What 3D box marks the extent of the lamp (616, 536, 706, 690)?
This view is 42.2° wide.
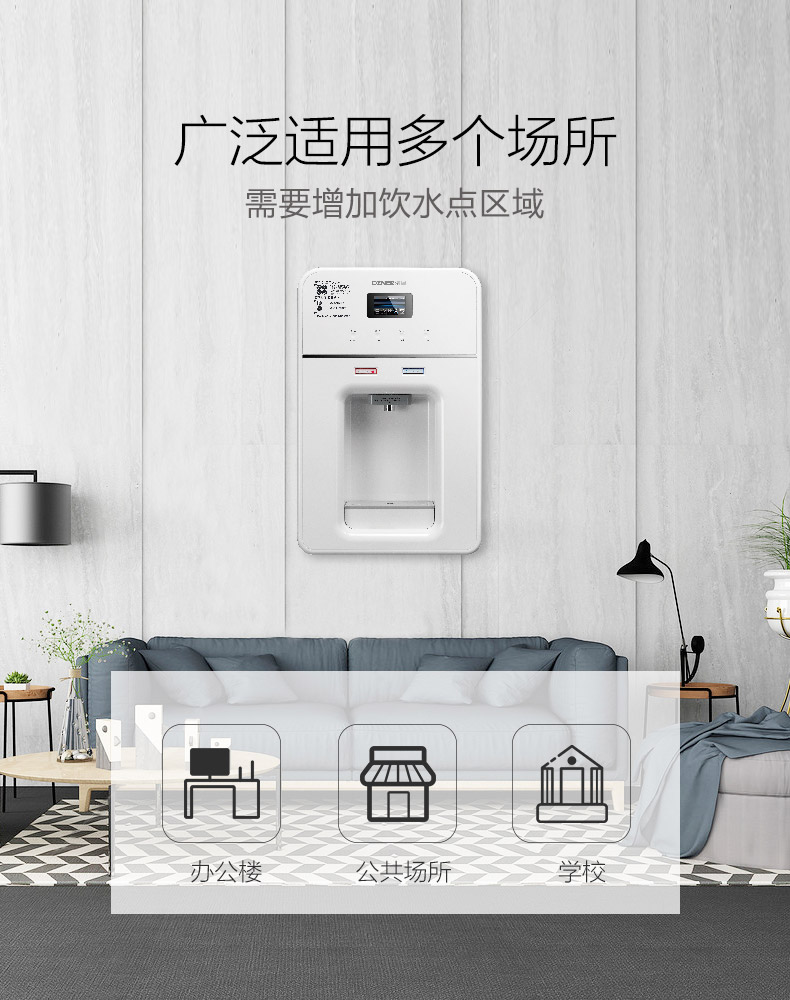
[{"bbox_3d":[1.314,0.560,5.063,0.352,0.707,0.713,-1,-4,22],"label":"lamp"}]

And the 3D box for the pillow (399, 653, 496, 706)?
[{"bbox_3d":[0.231,0.849,4.797,0.223,0.081,0.258,-9,26,18],"label":"pillow"}]

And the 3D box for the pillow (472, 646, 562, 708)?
[{"bbox_3d":[0.549,0.823,4.772,0.360,0.234,0.241,2,-3,-17],"label":"pillow"}]

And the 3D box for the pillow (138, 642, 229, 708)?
[{"bbox_3d":[-0.957,0.816,4.643,0.220,0.115,0.351,12,22,-32],"label":"pillow"}]
